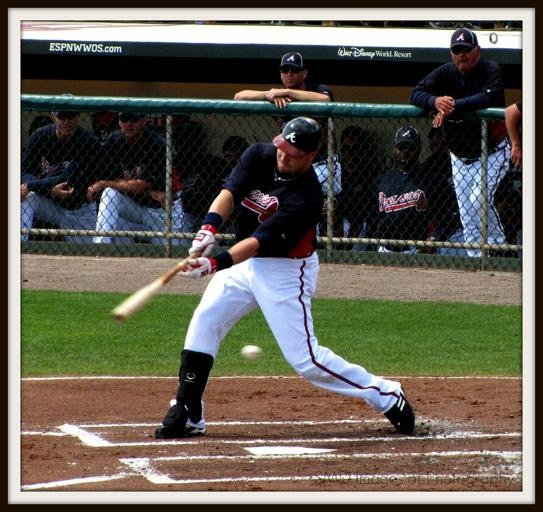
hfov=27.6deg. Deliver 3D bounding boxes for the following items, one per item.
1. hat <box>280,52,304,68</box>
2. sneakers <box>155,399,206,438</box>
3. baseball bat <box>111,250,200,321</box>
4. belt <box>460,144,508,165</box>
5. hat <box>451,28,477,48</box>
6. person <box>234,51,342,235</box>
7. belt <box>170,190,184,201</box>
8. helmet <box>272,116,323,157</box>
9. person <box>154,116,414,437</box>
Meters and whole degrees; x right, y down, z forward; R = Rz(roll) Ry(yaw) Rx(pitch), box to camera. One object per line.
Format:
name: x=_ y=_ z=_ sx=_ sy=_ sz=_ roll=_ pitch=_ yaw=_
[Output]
hat: x=0.149 y=-1.336 z=7.488 sx=0.126 sy=0.092 sz=0.171 roll=5 pitch=3 yaw=12
sneakers: x=-0.486 y=0.873 z=5.961 sx=0.125 sy=0.195 sz=0.358 roll=7 pitch=2 yaw=39
baseball bat: x=-0.807 y=0.199 z=7.520 sx=0.139 sy=0.103 sz=0.957 roll=24 pitch=35 yaw=22
belt: x=1.541 y=-0.713 z=7.909 sx=0.235 sy=0.111 sz=0.178 roll=-3 pitch=8 yaw=19
hat: x=1.296 y=-1.455 z=7.399 sx=0.179 sy=0.121 sz=0.250 roll=3 pitch=14 yaw=9
person: x=0.223 y=-0.687 z=7.675 sx=0.612 sy=1.340 sz=0.444 roll=-10 pitch=7 yaw=15
belt: x=-0.691 y=-0.443 z=8.143 sx=0.064 sy=0.049 sz=0.076 roll=2 pitch=47 yaw=-5
helmet: x=0.134 y=-0.638 z=5.826 sx=0.227 sy=0.145 sz=0.311 roll=27 pitch=29 yaw=36
person: x=0.019 y=0.129 z=5.909 sx=1.299 sy=1.703 sz=0.589 roll=-1 pitch=15 yaw=-6
